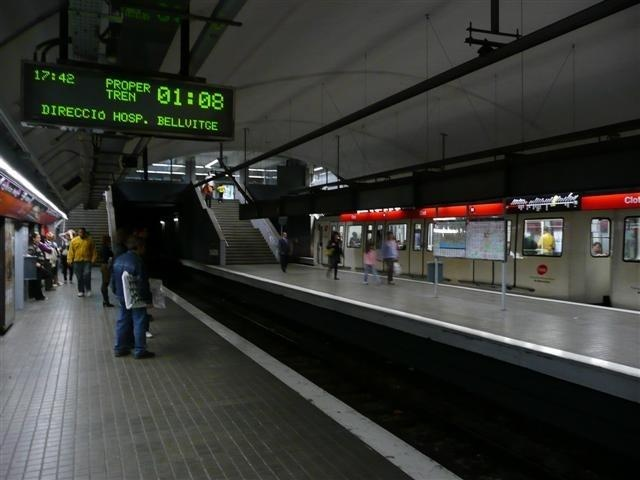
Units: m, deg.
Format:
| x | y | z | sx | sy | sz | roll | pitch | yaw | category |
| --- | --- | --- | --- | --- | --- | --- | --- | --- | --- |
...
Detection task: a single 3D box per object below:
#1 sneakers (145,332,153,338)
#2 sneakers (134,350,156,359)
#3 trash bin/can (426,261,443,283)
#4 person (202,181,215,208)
| x | y | z | sx | sy | sz | roll | pitch | yaw | category |
| --- | --- | --- | --- | --- | --- | --- | --- | --- | --- |
| -3.480 | 1.943 | 9.837 | 0.083 | 0.115 | 0.251 | 2 | -8 | -34 | sneakers |
| -3.020 | 1.962 | 8.360 | 0.328 | 0.153 | 0.135 | 1 | 1 | -26 | sneakers |
| 4.050 | 1.162 | 17.136 | 0.666 | 0.954 | 0.664 | 1 | -5 | -7 | trash bin/can |
| -7.245 | -2.834 | 30.966 | 0.677 | 1.599 | 1.543 | -1 | 7 | -14 | person |
